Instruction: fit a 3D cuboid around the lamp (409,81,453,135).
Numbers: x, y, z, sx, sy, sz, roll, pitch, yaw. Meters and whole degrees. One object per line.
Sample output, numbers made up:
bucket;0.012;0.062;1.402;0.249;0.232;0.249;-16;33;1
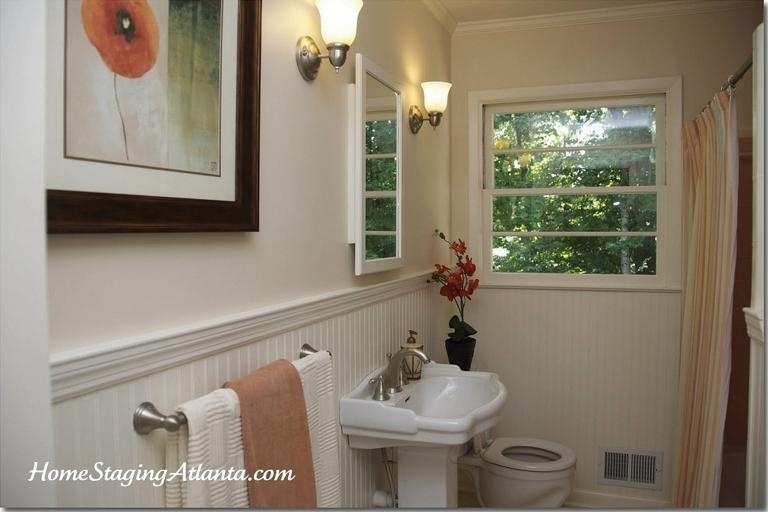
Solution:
lamp;0.250;-0.757;2.959;0.214;0.240;0.168;5;7;32

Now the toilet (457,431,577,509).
toilet;0.697;1.096;3.025;0.550;0.234;0.354;-6;-5;32

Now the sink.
sink;0.229;0.677;2.557;0.600;0.255;0.773;1;3;24

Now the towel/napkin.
towel/napkin;-0.409;0.521;1.699;0.112;0.439;0.559;-6;-9;33

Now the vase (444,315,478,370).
vase;0.421;0.499;3.159;0.185;0.305;0.174;-5;6;7

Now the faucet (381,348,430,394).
faucet;0.084;0.487;2.442;0.203;0.214;0.091;6;22;13
